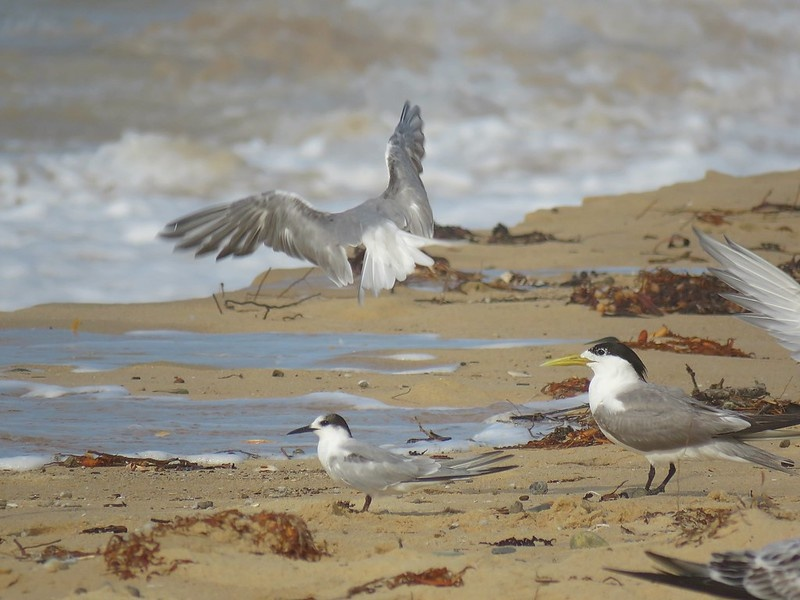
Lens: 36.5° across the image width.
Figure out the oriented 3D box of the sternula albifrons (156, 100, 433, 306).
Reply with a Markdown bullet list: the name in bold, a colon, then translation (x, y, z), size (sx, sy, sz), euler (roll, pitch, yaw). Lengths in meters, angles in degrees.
- **sternula albifrons**: translation (-0.466, -0.770, 11.571), size (1.909, 1.344, 2.395), euler (9, 16, 37)
